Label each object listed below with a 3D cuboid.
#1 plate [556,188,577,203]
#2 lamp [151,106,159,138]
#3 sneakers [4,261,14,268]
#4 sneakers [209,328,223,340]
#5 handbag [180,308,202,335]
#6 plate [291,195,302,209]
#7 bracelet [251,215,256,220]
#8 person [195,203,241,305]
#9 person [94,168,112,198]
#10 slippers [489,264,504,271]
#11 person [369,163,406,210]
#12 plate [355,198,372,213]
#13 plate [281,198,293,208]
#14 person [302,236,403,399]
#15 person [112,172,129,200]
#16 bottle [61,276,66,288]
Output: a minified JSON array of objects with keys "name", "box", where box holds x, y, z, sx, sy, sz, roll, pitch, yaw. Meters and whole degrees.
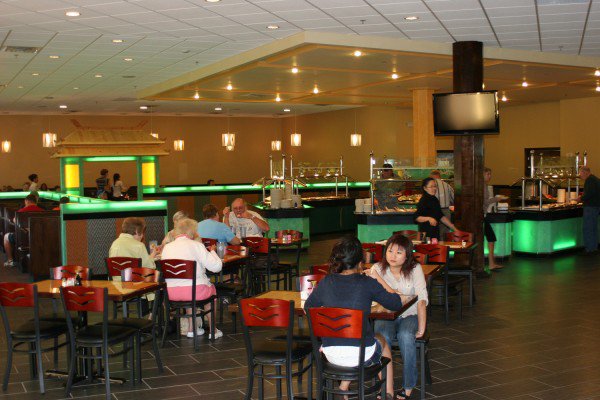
[{"name":"plate","box":[6.333,-0.096,12.773,0.459,0.232,0.408,-1,0,7]},{"name":"lamp","box":[-5.811,-2.956,21.396,0.329,1.086,0.882,-4,1,-14]},{"name":"sneakers","box":[-6.483,1.428,11.895,0.298,0.099,0.133,4,3,21]},{"name":"sneakers","box":[-1.118,1.789,7.160,0.107,0.086,0.233,2,4,22]},{"name":"handbag","box":[-1.497,1.678,7.306,0.220,0.200,0.579,0,2,6]},{"name":"plate","box":[-0.102,0.033,12.655,0.353,0.271,0.275,-2,3,-9]},{"name":"bracelet","box":[-0.813,0.305,9.269,0.058,0.045,0.059,-4,-6,41]},{"name":"person","box":[-1.245,0.746,8.488,0.875,1.314,0.665,-10,15,-38]},{"name":"person","box":[-6.479,-0.536,17.671,0.411,0.978,1.036,-4,1,-17]},{"name":"slippers","box":[3.846,1.320,10.557,0.188,0.096,0.463,-2,0,36]},{"name":"person","box":[1.955,-0.217,11.262,1.030,0.934,0.861,4,-10,21]},{"name":"plate","box":[1.317,0.127,11.102,0.354,0.176,0.311,1,-1,-5]},{"name":"plate","box":[-0.314,0.083,12.467,0.240,0.190,0.224,-1,-2,23]},{"name":"person","box":[0.505,1.175,5.039,0.926,1.413,0.555,-4,1,-12]},{"name":"person","box":[-6.043,-0.455,17.962,0.515,0.920,0.961,-4,1,-18]},{"name":"bottle","box":[-2.702,0.945,6.137,0.081,0.113,0.015,3,8,30]}]
